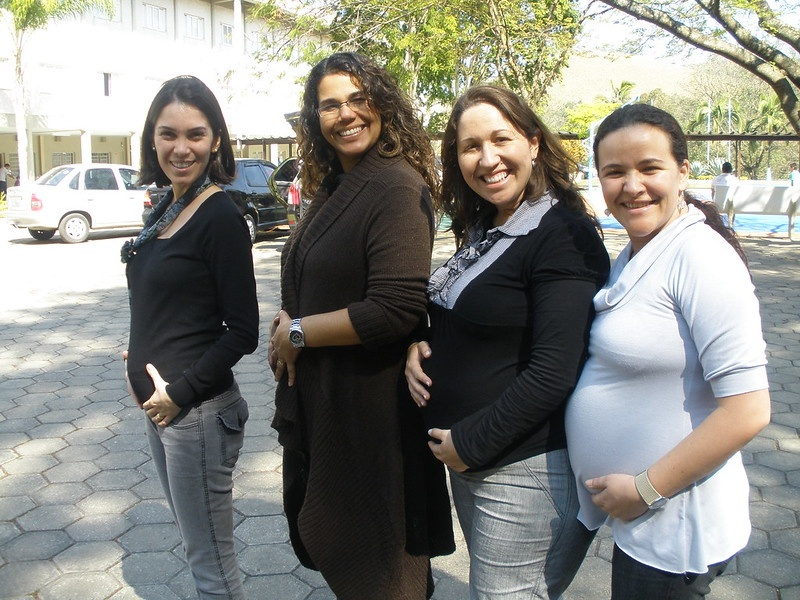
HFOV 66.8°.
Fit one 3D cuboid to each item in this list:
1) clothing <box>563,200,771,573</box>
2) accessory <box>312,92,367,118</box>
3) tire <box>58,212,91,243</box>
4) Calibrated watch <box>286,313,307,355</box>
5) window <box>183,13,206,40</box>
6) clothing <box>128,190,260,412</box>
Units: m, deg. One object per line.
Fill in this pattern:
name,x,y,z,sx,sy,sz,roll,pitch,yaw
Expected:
clothing,0.755,0.256,1.748,0.520,1.001,0.289,8,15,32
accessory,-0.216,-0.711,2.227,0.121,0.036,0.119,-20,0,-2
tire,-7.949,-1.777,14.716,0.231,0.747,0.772,6,4,33
Calibrated watch,-0.378,0.128,2.271,0.071,0.110,0.106,1,9,2
window,-12.093,-15.798,35.242,0.152,1.371,2.053,4,6,22
clothing,-0.814,0.001,2.319,0.509,0.806,0.306,-2,13,-9
